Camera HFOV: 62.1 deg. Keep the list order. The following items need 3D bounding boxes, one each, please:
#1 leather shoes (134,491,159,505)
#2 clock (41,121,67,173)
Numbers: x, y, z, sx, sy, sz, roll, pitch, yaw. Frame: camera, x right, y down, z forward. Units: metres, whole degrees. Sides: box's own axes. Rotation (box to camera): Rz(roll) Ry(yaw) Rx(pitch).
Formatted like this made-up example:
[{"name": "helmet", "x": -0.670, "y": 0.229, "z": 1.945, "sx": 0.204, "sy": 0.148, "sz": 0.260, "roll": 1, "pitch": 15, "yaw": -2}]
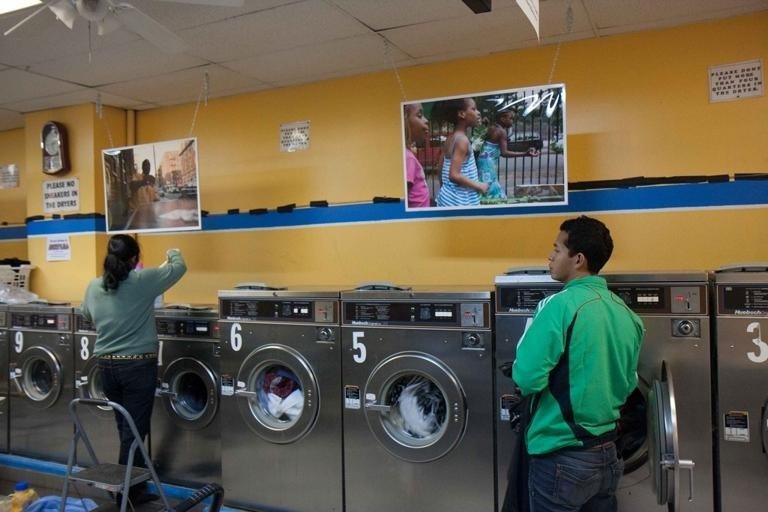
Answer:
[{"name": "leather shoes", "x": -1.968, "y": 1.993, "z": 5.305, "sx": 0.240, "sy": 0.095, "sz": 0.080, "roll": 1, "pitch": 6, "yaw": -20}, {"name": "clock", "x": -3.388, "y": -1.107, "z": 6.535, "sx": 0.310, "sy": 0.383, "sz": 0.101, "roll": -1, "pitch": 1, "yaw": 24}]
